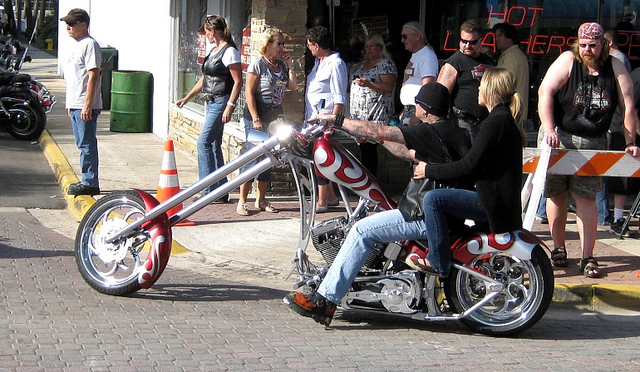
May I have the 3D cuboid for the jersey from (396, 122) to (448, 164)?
[{"bbox_3d":[1.095,-0.434,7.098,0.740,0.569,0.313,1,2,11],"label":"jersey"}]

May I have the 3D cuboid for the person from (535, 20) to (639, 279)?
[{"bbox_3d":[3.332,-0.490,8.606,1.171,3.079,1.081,12,14,29],"label":"person"}]

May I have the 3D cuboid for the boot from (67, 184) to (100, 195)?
[{"bbox_3d":[-3.851,0.068,11.083,0.488,0.213,0.177,12,0,-9],"label":"boot"}]

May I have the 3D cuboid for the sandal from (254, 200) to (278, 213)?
[{"bbox_3d":[-0.857,0.311,10.622,0.403,0.163,0.147,10,10,27],"label":"sandal"}]

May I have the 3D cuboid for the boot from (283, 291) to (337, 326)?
[{"bbox_3d":[-0.078,1.237,7.275,0.568,0.387,0.202,27,-21,-14],"label":"boot"}]

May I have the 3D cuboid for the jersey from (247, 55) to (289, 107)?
[{"bbox_3d":[-0.806,-1.637,10.290,0.484,0.836,0.875,28,33,34],"label":"jersey"}]

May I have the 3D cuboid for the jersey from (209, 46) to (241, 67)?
[{"bbox_3d":[-1.481,-2.008,10.548,0.463,0.343,0.255,16,2,30],"label":"jersey"}]

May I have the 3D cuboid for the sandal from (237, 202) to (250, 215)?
[{"bbox_3d":[-1.182,0.355,10.422,0.205,0.231,0.546,1,0,-7],"label":"sandal"}]

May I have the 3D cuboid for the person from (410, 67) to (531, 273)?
[{"bbox_3d":[1.745,-0.169,7.252,1.057,2.154,1.497,13,15,33],"label":"person"}]

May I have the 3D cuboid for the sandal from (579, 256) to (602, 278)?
[{"bbox_3d":[3.372,1.014,8.457,0.280,0.213,0.197,13,15,34],"label":"sandal"}]

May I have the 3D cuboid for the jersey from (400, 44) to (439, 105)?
[{"bbox_3d":[1.477,-1.696,10.424,0.495,0.831,0.875,2,15,-8],"label":"jersey"}]

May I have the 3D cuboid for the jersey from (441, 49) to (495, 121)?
[{"bbox_3d":[2.099,-1.461,9.320,0.798,0.778,0.472,-4,19,-24],"label":"jersey"}]
